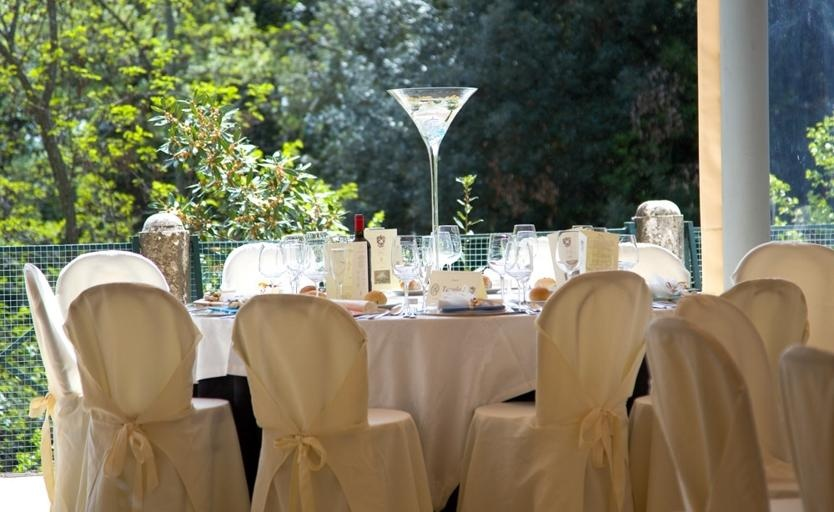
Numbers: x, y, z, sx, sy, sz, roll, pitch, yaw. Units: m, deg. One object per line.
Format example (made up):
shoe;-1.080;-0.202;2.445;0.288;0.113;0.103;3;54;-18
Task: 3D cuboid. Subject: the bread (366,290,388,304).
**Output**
bread;-0.350;0.350;10.857;0.114;0.112;0.128;-2;-11;13

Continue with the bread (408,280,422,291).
bread;-0.023;0.257;11.238;0.084;0.099;0.093;-2;0;3

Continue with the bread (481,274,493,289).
bread;0.629;0.211;11.271;0.084;0.127;0.062;4;-19;-42

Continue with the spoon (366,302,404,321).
spoon;-0.256;0.477;10.697;0.111;0.049;0.397;16;23;25
